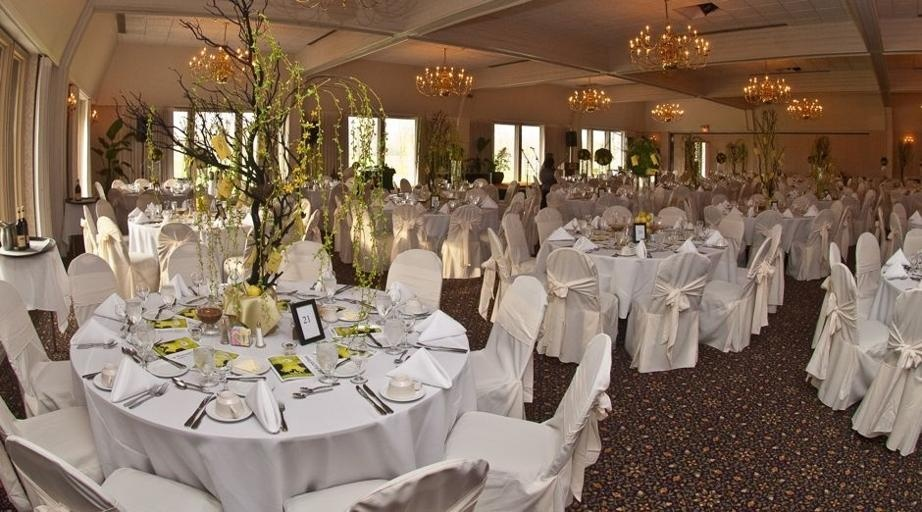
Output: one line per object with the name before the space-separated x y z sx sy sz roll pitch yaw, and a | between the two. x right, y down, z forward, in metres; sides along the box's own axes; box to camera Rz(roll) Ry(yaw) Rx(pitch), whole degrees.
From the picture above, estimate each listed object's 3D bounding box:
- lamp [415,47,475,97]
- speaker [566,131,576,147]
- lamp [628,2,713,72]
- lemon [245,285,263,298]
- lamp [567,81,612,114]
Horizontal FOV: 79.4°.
lamp | -0.482 -5.259 15.697 1.602 1.601 1.627 -3 13 -22
speaker | 4.022 -4.335 20.392 0.369 0.546 0.688 0 7 9
lamp | 4.301 -4.596 11.467 1.211 1.677 1.272 -3 36 3
lemon | -1.776 0.297 4.793 0.105 0.086 0.100 2 -9 -22
lamp | 4.355 -5.554 19.165 1.561 0.817 1.604 -9 31 -14
